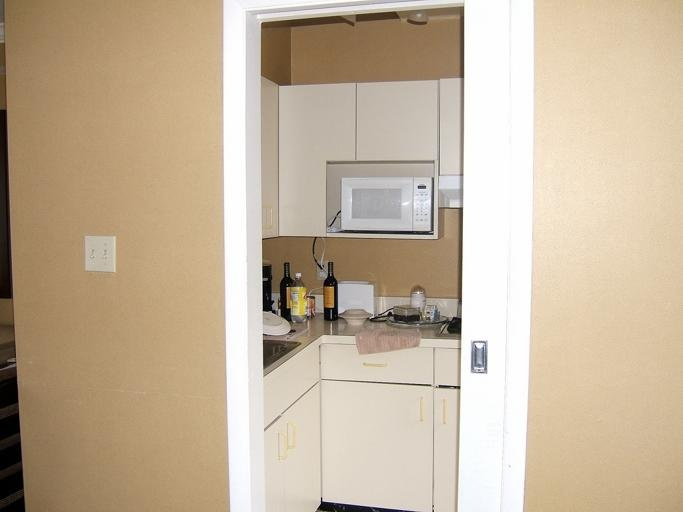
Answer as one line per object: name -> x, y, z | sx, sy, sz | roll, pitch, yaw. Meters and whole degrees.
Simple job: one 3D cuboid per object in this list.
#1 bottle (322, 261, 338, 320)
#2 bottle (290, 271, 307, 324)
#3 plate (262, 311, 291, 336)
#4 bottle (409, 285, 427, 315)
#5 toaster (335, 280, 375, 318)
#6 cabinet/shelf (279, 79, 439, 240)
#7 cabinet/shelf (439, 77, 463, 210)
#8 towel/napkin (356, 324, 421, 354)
bottle -> -0.065, 0.205, 3.693 | 0.087, 0.344, 0.175 | 1, 4, -1
bottle -> -0.256, 0.237, 3.645 | 0.099, 0.282, 0.202 | 1, 4, -3
plate -> -0.335, 0.353, 3.129 | 0.131, 0.091, 0.169 | 0, 4, -8
bottle -> 0.460, 0.263, 3.626 | 0.094, 0.152, 0.283 | 1, 4, 6
toaster -> 0.102, 0.234, 3.754 | 0.291, 0.306, 0.159 | 1, 6, 14
cabinet/shelf -> 0.129, -0.566, 3.466 | 0.812, 0.855, 0.283 | 0, 1, 4
cabinet/shelf -> 0.611, -0.678, 3.388 | 0.133, 0.598, 0.086 | 1, 4, 9
towel/napkin -> 0.261, 0.460, 3.318 | 0.347, 0.122, 0.258 | 2, 4, 7
